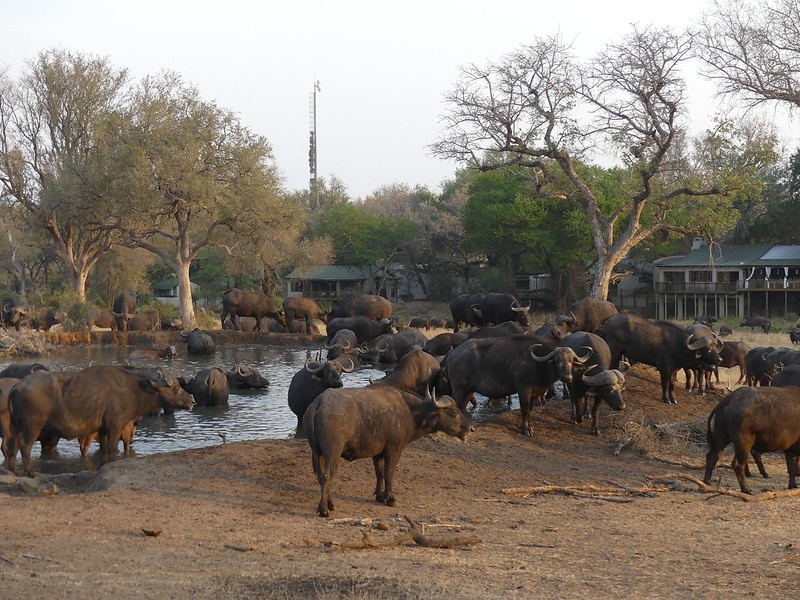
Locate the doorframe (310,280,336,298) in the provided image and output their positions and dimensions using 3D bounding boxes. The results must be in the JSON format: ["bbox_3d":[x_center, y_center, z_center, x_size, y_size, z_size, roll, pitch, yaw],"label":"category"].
[{"bbox_3d":[-4.766,-0.798,86.620,1.182,0.796,1.266,2,2,6],"label":"doorframe"}]

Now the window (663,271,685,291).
[{"bbox_3d":[15.869,-1.194,76.434,1.093,1.112,1.134,0,0,-18],"label":"window"}]

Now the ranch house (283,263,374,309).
[{"bbox_3d":[-4.328,-0.727,86.276,4.159,1.595,2.769,0,8,3],"label":"ranch house"}]
